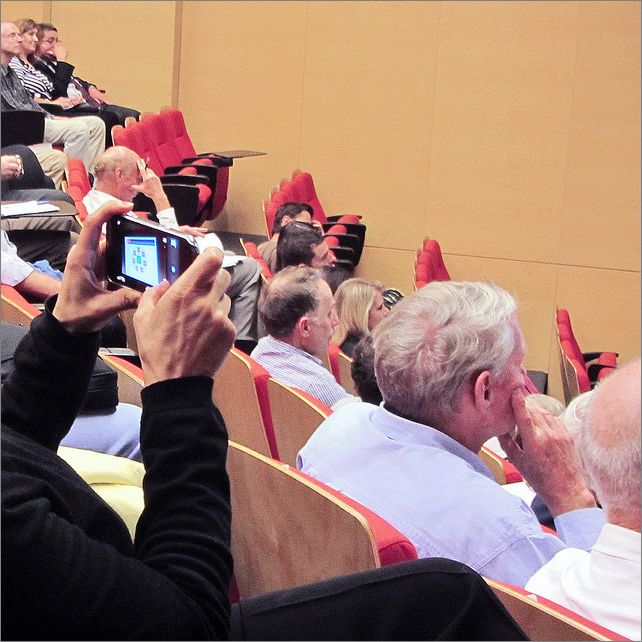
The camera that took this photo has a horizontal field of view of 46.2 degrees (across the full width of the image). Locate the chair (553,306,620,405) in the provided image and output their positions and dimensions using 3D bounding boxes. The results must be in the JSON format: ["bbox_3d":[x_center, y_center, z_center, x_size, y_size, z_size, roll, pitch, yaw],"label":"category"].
[{"bbox_3d":[1.634,0.170,4.592,0.320,0.702,0.419,-6,29,4],"label":"chair"}]
